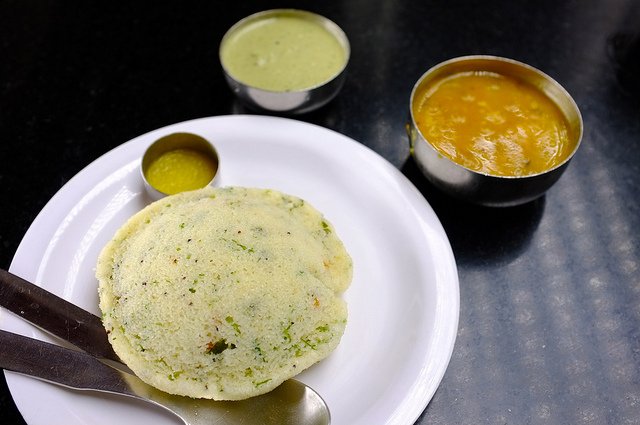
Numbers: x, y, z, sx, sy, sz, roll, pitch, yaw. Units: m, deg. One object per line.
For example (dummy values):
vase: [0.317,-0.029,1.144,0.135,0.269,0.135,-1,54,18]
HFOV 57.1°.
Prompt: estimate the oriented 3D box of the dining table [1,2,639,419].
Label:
dining table: [0.009,-0.132,3.233,3.683,0.660,2.524,3,74,0]
